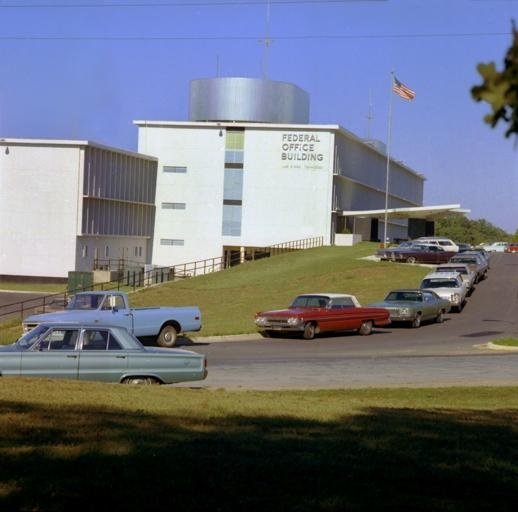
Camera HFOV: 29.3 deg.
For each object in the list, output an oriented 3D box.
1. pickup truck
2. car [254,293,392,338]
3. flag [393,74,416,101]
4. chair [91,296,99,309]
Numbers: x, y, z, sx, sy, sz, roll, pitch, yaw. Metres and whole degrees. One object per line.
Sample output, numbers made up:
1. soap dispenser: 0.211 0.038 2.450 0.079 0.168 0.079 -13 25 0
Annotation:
1. pickup truck: -3.084 1.414 22.930 3.555 1.143 1.632 3 -6 -44
2. car: 2.009 1.684 27.476 3.223 0.953 1.436 3 -5 -43
3. flag: 8.599 -9.863 58.943 1.160 0.972 1.976 2 1 3
4. chair: -3.612 1.047 22.106 0.196 0.353 0.208 2 2 6
